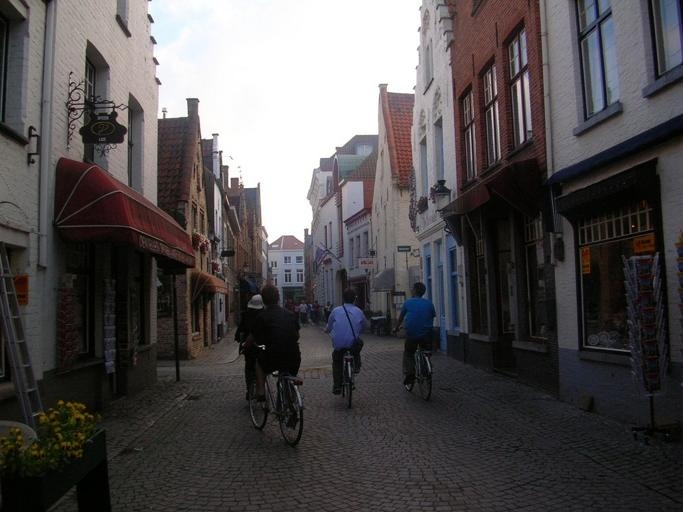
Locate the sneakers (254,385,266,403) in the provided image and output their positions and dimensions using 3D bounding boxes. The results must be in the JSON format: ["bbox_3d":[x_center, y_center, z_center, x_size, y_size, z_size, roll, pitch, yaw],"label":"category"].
[{"bbox_3d":[-1.193,2.037,9.182,0.103,0.247,0.304,0,0,-28],"label":"sneakers"}]

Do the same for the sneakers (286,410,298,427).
[{"bbox_3d":[-0.661,2.208,8.358,0.083,0.233,0.339,1,-7,-21],"label":"sneakers"}]

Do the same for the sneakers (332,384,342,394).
[{"bbox_3d":[-0.091,2.420,11.194,0.141,0.162,0.151,-5,-10,24],"label":"sneakers"}]

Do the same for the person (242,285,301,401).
[{"bbox_3d":[-1.052,1.354,9.337,0.967,1.884,0.920,1,-1,20],"label":"person"}]

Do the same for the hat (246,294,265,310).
[{"bbox_3d":[-1.552,0.809,11.149,0.279,0.195,0.334,4,30,3],"label":"hat"}]

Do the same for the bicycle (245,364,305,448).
[{"bbox_3d":[-0.887,2.162,8.877,0.580,0.891,1.279,0,-2,-24],"label":"bicycle"}]

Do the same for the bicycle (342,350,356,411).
[{"bbox_3d":[0.130,2.194,11.026,0.231,0.986,0.520,-1,-5,-6],"label":"bicycle"}]

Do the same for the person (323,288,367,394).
[{"bbox_3d":[0.088,1.586,11.467,0.710,1.988,1.000,-1,-5,-2],"label":"person"}]
